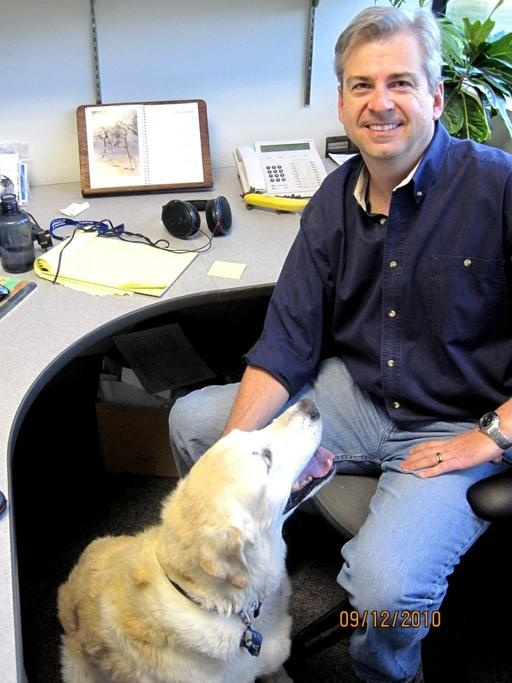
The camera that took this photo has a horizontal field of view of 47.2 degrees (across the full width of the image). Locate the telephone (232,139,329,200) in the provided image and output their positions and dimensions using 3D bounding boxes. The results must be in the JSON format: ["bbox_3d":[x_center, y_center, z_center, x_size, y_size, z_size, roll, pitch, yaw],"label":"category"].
[{"bbox_3d":[0.098,-0.645,2.194,0.326,0.110,0.296,-8,54,-11],"label":"telephone"}]

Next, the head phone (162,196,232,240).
[{"bbox_3d":[-0.183,-0.391,1.935,0.236,0.108,0.266,-6,0,3],"label":"head phone"}]
